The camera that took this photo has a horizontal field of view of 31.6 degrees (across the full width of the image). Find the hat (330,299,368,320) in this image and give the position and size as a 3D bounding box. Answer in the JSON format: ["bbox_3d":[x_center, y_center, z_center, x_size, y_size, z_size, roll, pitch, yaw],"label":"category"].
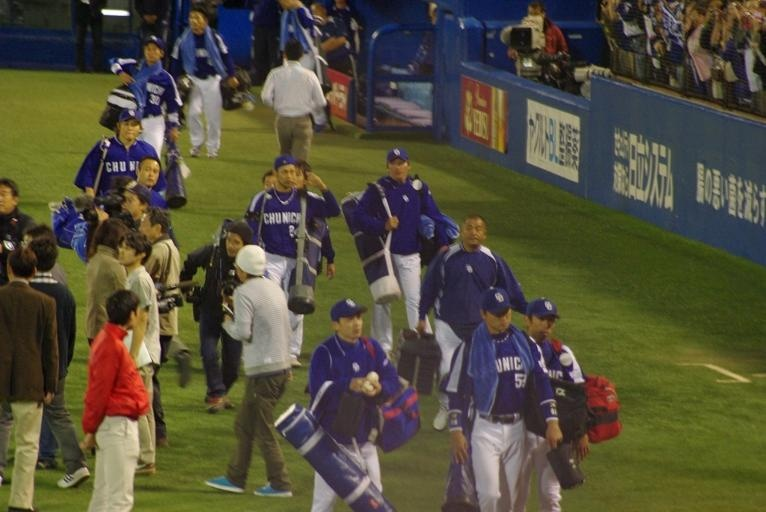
[{"bbox_3d":[-0.364,0.588,14.721,0.312,0.160,0.224,-24,1,16],"label":"hat"}]

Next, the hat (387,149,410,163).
[{"bbox_3d":[0.200,-1.341,18.078,0.245,0.183,0.291,4,8,-5],"label":"hat"}]

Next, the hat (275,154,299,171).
[{"bbox_3d":[-1.286,-1.219,17.751,0.246,0.143,0.243,-1,3,29],"label":"hat"}]

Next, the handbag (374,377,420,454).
[{"bbox_3d":[0.170,1.718,14.568,0.463,0.712,0.381,6,-21,32],"label":"handbag"}]

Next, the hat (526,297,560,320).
[{"bbox_3d":[1.759,0.581,15.265,0.231,0.157,0.299,4,-5,-20],"label":"hat"}]

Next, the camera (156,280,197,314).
[{"bbox_3d":[-2.389,0.453,16.025,0.593,0.224,0.162,-9,49,-38],"label":"camera"}]

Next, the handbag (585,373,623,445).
[{"bbox_3d":[2.452,1.727,15.110,0.428,0.733,0.298,6,8,7],"label":"handbag"}]

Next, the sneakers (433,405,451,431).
[{"bbox_3d":[0.749,2.061,17.004,0.142,0.383,0.171,6,-9,3],"label":"sneakers"}]

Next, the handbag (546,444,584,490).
[{"bbox_3d":[1.996,2.301,14.865,0.291,0.479,0.303,-18,-22,-32],"label":"handbag"}]

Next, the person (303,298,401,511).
[{"bbox_3d":[-0.312,1.498,14.655,1.009,2.008,0.531,4,8,-4],"label":"person"}]
